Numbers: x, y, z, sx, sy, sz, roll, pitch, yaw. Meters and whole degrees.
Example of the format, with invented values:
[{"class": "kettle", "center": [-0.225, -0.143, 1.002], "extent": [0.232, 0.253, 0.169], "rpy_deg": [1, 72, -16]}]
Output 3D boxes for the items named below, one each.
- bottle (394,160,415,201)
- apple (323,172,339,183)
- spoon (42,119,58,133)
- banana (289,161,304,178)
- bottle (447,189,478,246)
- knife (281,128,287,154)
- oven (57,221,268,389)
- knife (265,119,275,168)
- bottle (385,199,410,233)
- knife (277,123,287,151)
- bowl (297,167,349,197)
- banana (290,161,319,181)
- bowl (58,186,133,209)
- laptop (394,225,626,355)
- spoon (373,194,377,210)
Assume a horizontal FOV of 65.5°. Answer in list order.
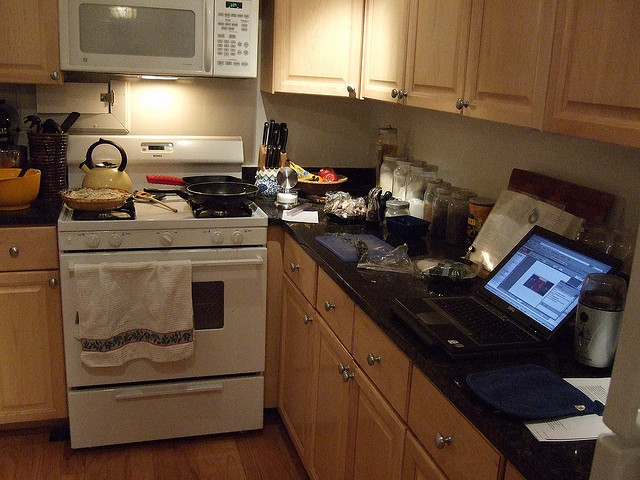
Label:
[{"class": "bottle", "center": [0.430, -0.313, 2.578], "extent": [0.089, 0.171, 0.257], "rpy_deg": [5, 18, 11]}, {"class": "apple", "center": [0.068, -0.368, 2.870], "extent": [0.062, 0.068, 0.066], "rpy_deg": [6, 31, -2]}, {"class": "spoon", "center": [-1.374, -0.570, 2.504], "extent": [0.119, 0.065, 0.036], "rpy_deg": [13, 20, 30]}, {"class": "banana", "center": [-0.142, -0.402, 2.839], "extent": [0.074, 0.017, 0.053], "rpy_deg": [41, 9, -1]}, {"class": "bottle", "center": [0.625, -0.083, 2.222], "extent": [0.170, 0.244, 0.176], "rpy_deg": [3, 8, 0]}, {"class": "knife", "center": [-0.210, -0.555, 2.822], "extent": [0.028, 0.126, 0.029], "rpy_deg": [-2, 6, -36]}, {"class": "oven", "center": [-0.712, 0.232, 2.502], "extent": [0.892, 0.883, 0.503], "rpy_deg": [-2, 19, -13]}, {"class": "knife", "center": [-0.283, -0.553, 2.763], "extent": [0.010, 0.205, 0.025], "rpy_deg": [6, 2, -39]}, {"class": "bottle", "center": [0.358, -0.124, 2.378], "extent": [0.136, 0.141, 0.128], "rpy_deg": [-10, 17, -36]}, {"class": "knife", "center": [-0.221, -0.581, 2.824], "extent": [0.034, 0.163, 0.041], "rpy_deg": [11, 11, 30]}, {"class": "bowl", "center": [0.002, -0.359, 2.825], "extent": [0.190, 0.106, 0.189], "rpy_deg": [-1, 11, 0]}, {"class": "banana", "center": [-0.105, -0.412, 2.972], "extent": [0.189, 0.057, 0.058], "rpy_deg": [38, 59, 2]}, {"class": "bowl", "center": [-1.047, -0.202, 2.313], "extent": [0.181, 0.045, 0.181], "rpy_deg": [5, 14, -1]}, {"class": "laptop", "center": [0.524, 0.131, 1.499], "extent": [0.566, 0.258, 0.474], "rpy_deg": [0, 12, -8]}, {"class": "spoon", "center": [0.264, -0.183, 2.422], "extent": [0.022, 0.064, 0.031], "rpy_deg": [4, 17, 6]}]
